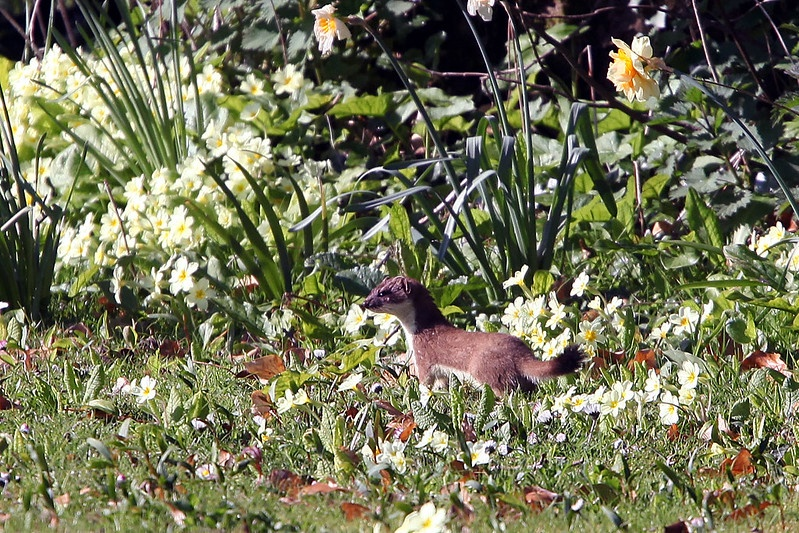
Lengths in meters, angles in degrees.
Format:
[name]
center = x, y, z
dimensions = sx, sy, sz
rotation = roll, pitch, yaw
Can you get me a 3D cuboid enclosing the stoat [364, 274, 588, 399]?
[stoat]
center = 0.259, 0.249, 3.702
dimensions = 0.833, 0.442, 0.241
rotation = -1, 8, 37
